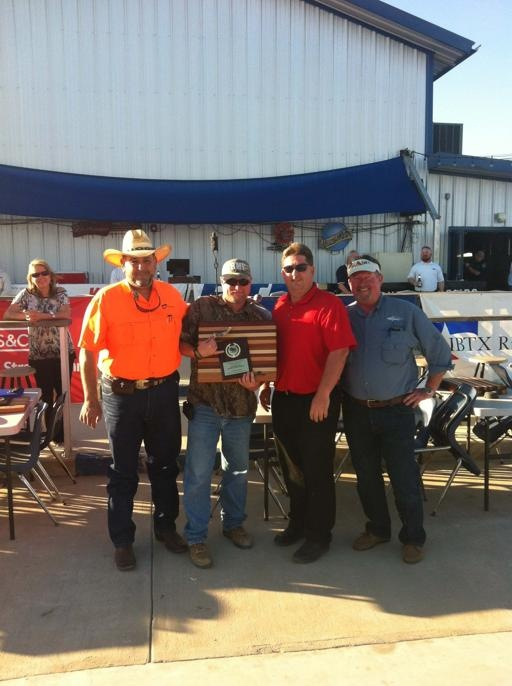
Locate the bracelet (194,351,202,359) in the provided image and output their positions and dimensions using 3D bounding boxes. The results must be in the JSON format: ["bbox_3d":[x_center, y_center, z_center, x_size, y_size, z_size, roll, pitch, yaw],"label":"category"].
[{"bbox_3d":[-0.343,0.069,3.905,0.034,0.056,0.014,9,45,23],"label":"bracelet"}]

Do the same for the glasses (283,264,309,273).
[{"bbox_3d":[0.239,-0.448,3.950,0.131,0.059,0.048,1,10,7],"label":"glasses"}]

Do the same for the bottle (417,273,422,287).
[{"bbox_3d":[2.784,-1.065,11.244,0.043,0.171,0.101,-1,0,38],"label":"bottle"}]

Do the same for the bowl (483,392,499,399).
[{"bbox_3d":[1.808,0.404,5.076,0.093,0.037,0.097,0,10,0],"label":"bowl"}]

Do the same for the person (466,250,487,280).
[{"bbox_3d":[5.444,-1.944,16.302,0.456,0.679,2.982,4,10,19],"label":"person"}]

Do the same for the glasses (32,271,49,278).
[{"bbox_3d":[-1.841,-0.595,5.654,0.158,0.069,0.091,-5,11,-27],"label":"glasses"}]

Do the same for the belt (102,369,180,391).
[{"bbox_3d":[-0.689,0.236,4.009,0.463,0.101,0.189,-3,10,-17],"label":"belt"}]

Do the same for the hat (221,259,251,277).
[{"bbox_3d":[-0.126,-0.464,4.010,0.158,0.102,0.279,0,10,-4],"label":"hat"}]

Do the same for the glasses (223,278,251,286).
[{"bbox_3d":[-0.114,-0.370,3.918,0.147,0.047,0.048,0,10,-5],"label":"glasses"}]

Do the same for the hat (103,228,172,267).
[{"bbox_3d":[-0.762,-0.656,4.059,0.403,0.169,0.421,-4,-9,-11],"label":"hat"}]

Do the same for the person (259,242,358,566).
[{"bbox_3d":[0.334,0.364,4.084,0.419,1.948,0.520,-3,11,-16],"label":"person"}]

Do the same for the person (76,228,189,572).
[{"bbox_3d":[-0.710,0.333,3.961,0.667,1.997,0.474,-3,11,-15],"label":"person"}]

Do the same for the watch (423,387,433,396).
[{"bbox_3d":[1.058,0.302,4.065,0.062,0.057,0.018,6,-31,-9],"label":"watch"}]
